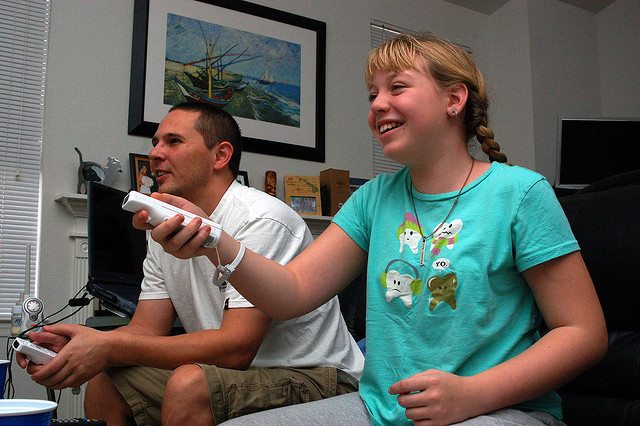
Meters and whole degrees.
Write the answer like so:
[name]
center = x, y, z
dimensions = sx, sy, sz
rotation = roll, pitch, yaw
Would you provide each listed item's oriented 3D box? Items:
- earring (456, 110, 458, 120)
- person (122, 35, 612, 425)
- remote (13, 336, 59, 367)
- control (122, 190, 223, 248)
[earring]
center = 0.386, -0.266, 1.429
dimensions = 0.002, 0.012, 0.003
rotation = 3, 39, 27
[person]
center = 0.066, 0.262, 2.103
dimensions = 1.405, 1.938, 0.931
rotation = 7, -18, -16
[remote]
center = -0.832, 0.397, 1.506
dimensions = 0.099, 0.029, 0.105
rotation = 28, -16, -14
[control]
center = -0.385, 0.020, 1.331
dimensions = 0.250, 0.147, 0.064
rotation = 0, -2, -12
